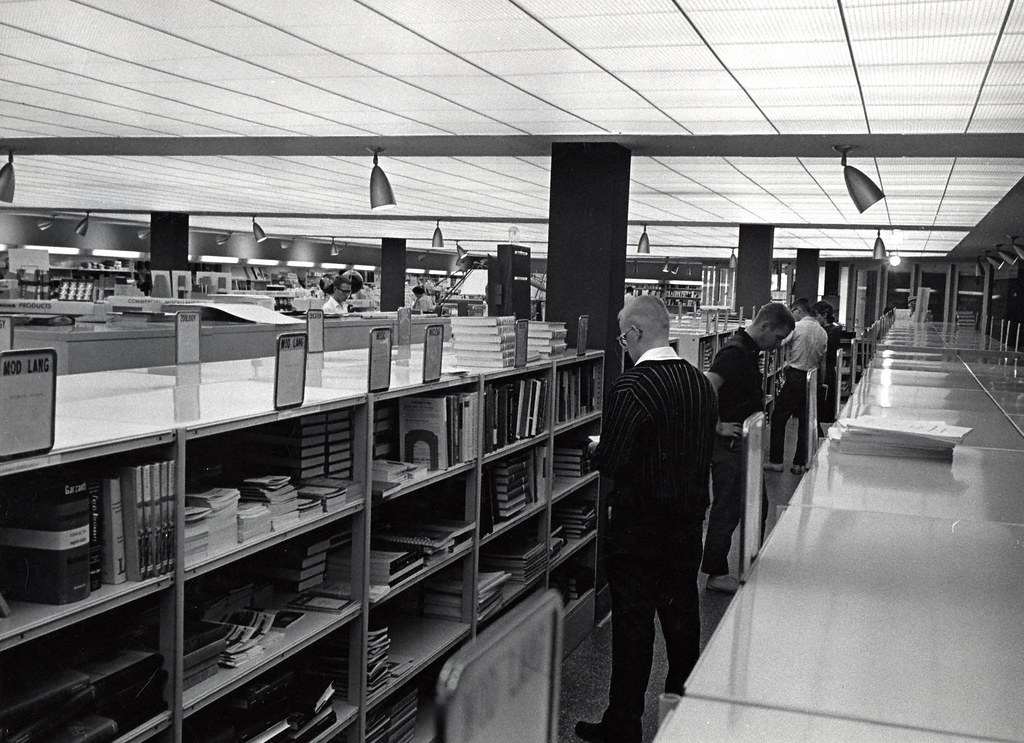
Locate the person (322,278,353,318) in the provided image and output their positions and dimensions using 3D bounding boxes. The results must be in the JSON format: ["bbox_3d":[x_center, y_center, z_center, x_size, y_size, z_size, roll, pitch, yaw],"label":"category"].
[{"bbox_3d":[-2.230,-0.955,9.645,0.308,0.256,0.970,-12,-2,-16],"label":"person"}]

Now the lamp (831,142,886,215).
[{"bbox_3d":[2.676,-1.531,5.988,0.327,0.511,1.093,3,8,22],"label":"lamp"}]
